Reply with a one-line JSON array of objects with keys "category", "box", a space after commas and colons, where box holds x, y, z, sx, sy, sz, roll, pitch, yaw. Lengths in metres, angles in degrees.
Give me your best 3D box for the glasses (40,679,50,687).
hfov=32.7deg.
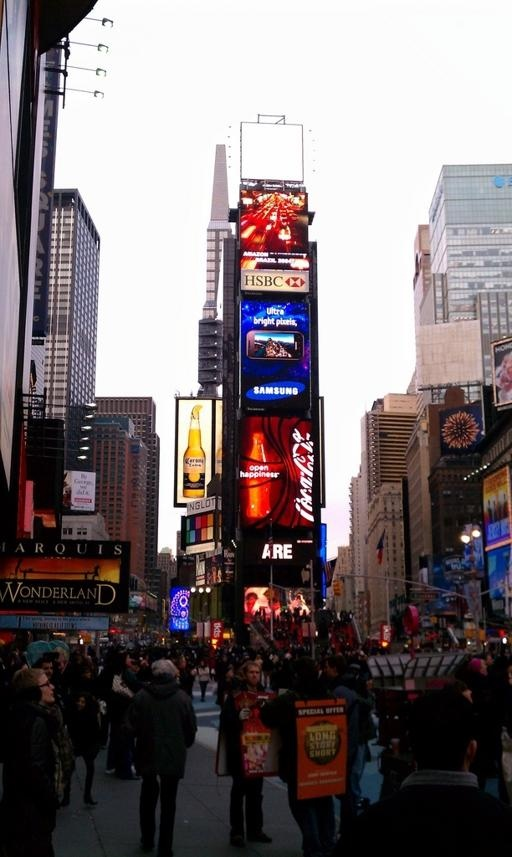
[{"category": "glasses", "box": [-1.680, 2.034, 6.899, 0.056, 0.020, 0.059, -10, -6, 4]}]
